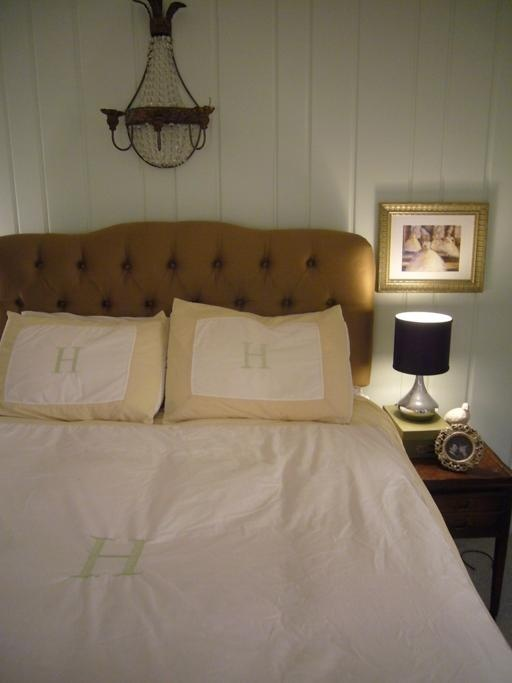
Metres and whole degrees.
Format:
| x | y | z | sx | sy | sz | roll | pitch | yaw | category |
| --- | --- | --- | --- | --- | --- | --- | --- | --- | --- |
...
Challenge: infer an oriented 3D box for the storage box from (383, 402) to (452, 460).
| x | y | z | sx | sy | sz | roll | pitch | yaw | category |
| --- | --- | --- | --- | --- | --- | --- | --- | --- | --- |
| 0.607 | 0.340 | 1.858 | 0.132 | 0.111 | 0.215 | 0 | 11 | 1 | storage box |

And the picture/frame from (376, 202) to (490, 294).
| x | y | z | sx | sy | sz | roll | pitch | yaw | category |
| --- | --- | --- | --- | --- | --- | --- | --- | --- | --- |
| 0.734 | -0.408 | 2.110 | 0.308 | 0.304 | 0.026 | 0 | 9 | -1 | picture/frame |
